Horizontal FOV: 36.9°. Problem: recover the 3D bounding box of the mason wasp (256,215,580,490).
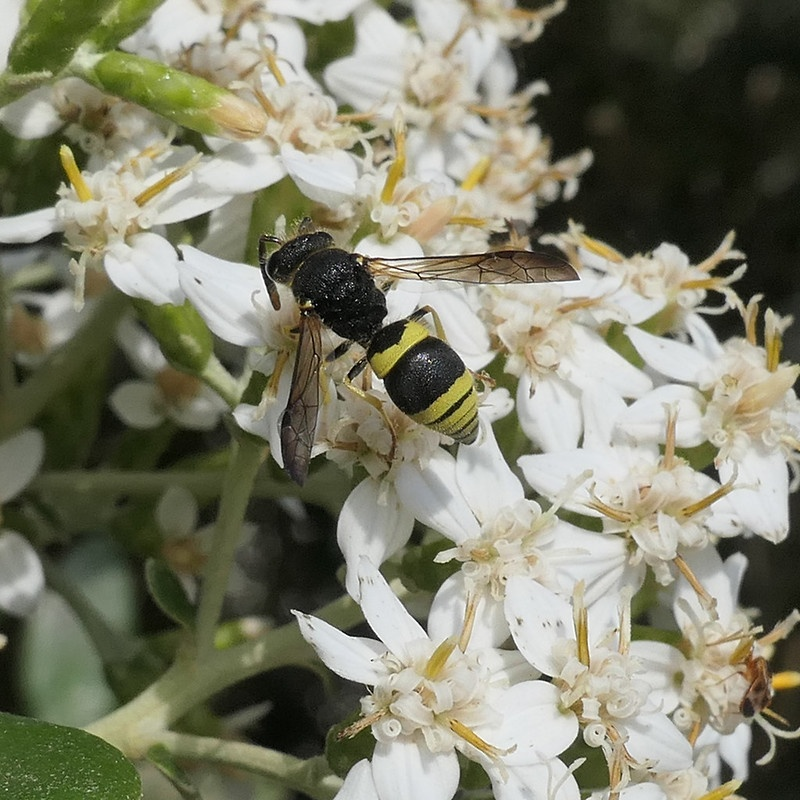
[{"bbox_3d":[0.024,-0.047,0.947,0.258,0.076,0.242,-4,66,-10],"label":"mason wasp"}]
